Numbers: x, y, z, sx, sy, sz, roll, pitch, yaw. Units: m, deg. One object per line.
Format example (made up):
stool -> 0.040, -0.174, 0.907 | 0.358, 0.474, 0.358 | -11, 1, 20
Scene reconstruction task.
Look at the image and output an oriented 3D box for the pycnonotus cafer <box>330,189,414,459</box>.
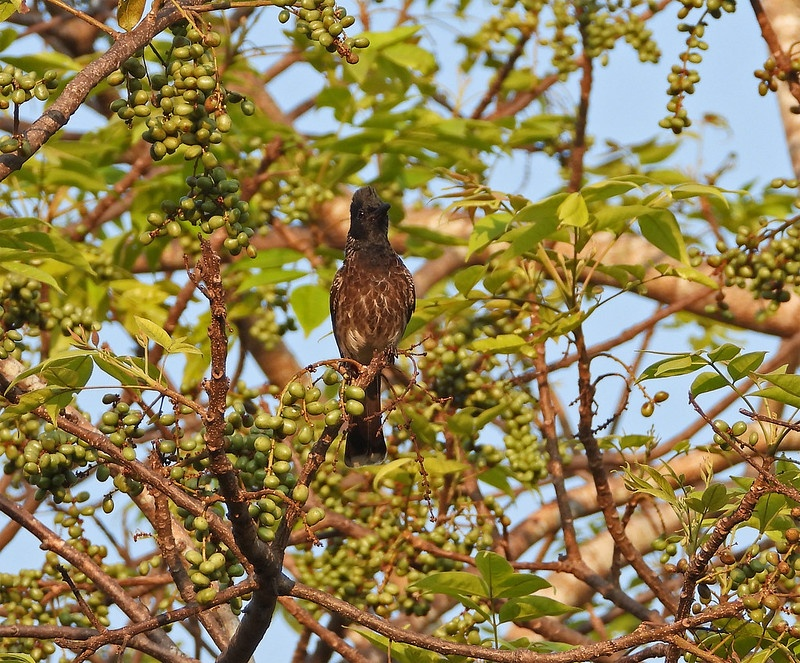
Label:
pycnonotus cafer -> -0.155, -0.012, 8.067 | 0.433, 0.841, 1.566 | 1, -68, -9
